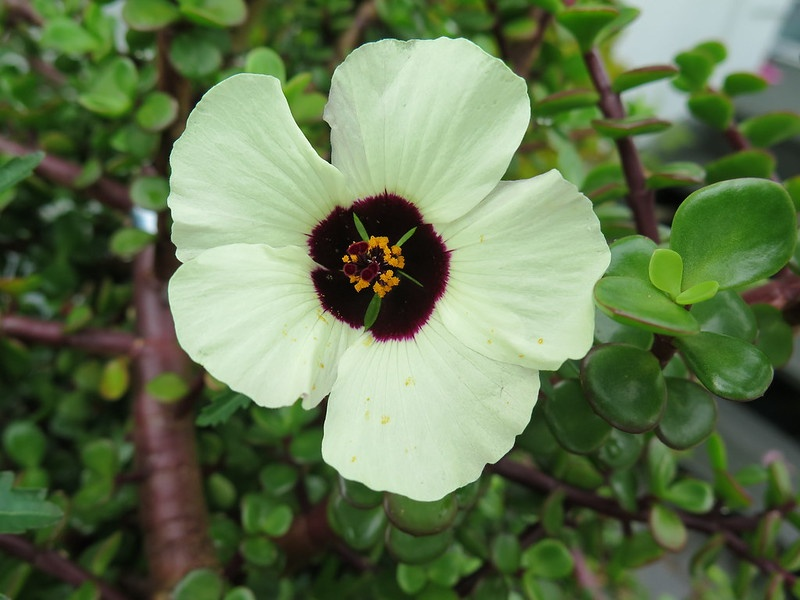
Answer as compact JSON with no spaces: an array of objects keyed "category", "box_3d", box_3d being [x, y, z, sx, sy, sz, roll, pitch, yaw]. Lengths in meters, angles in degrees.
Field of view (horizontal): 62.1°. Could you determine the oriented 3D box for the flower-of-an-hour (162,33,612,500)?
[{"category":"flower-of-an-hour","box_3d":[-0.024,-0.071,0.841,0.560,0.144,0.512,34,83,3]}]
